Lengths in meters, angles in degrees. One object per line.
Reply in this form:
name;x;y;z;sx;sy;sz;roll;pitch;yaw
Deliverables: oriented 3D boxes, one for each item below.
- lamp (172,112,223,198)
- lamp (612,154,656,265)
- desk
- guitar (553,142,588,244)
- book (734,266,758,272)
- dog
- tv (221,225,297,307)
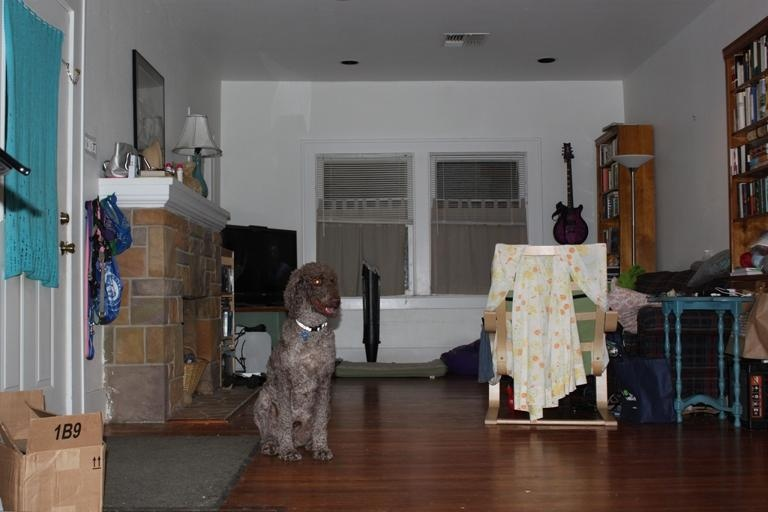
lamp;-1.817;-0.969;7.081;0.436;0.805;0.435;-7;18;-34
lamp;2.822;-0.535;8.162;0.389;1.273;0.880;-2;-5;22
desk;2.414;0.779;6.023;0.810;1.295;0.847;-1;-1;7
guitar;2.321;-0.810;9.088;0.445;1.365;0.610;-1;-4;15
book;3.111;0.119;6.235;0.108;0.056;0.205;1;-5;-17
dog;-0.539;0.682;4.654;0.430;1.267;0.611;2;-5;-24
tv;-1.414;0.130;7.946;0.841;0.837;0.113;5;-9;-44
